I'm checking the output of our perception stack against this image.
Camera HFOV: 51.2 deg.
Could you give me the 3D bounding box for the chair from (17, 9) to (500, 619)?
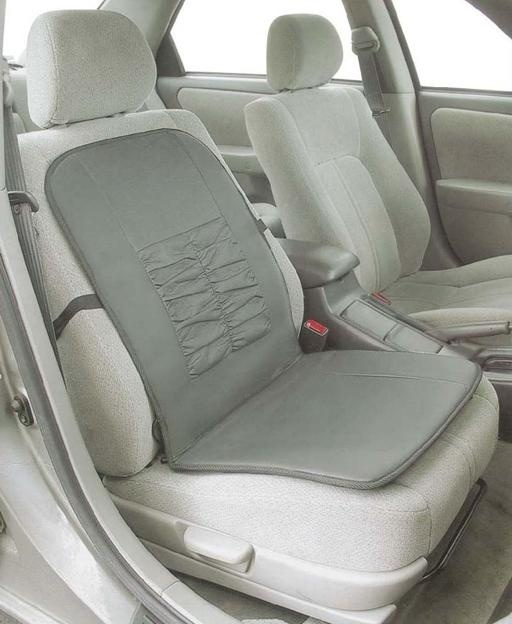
[{"bbox_3d":[0.013,-0.015,0.860,0.570,0.818,0.512,-28,12,-41],"label":"chair"}]
